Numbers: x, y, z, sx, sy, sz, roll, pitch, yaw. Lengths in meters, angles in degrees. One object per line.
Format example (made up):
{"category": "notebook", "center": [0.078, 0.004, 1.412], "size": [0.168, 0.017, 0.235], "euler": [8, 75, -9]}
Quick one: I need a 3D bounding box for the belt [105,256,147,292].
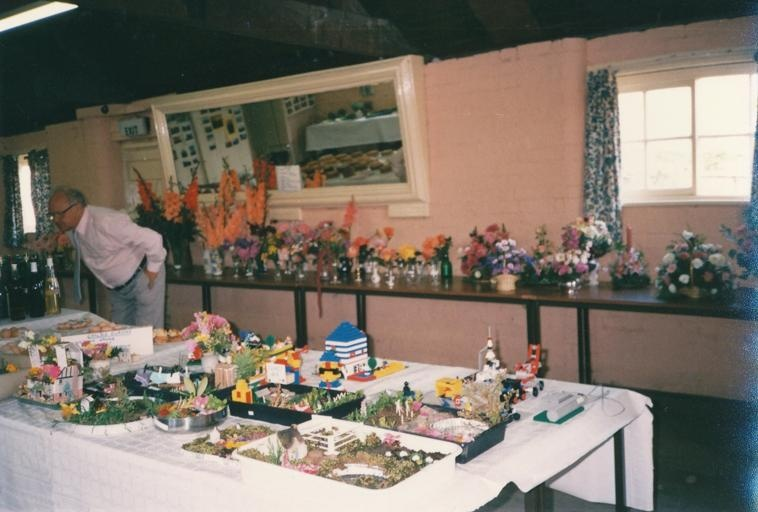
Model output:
{"category": "belt", "center": [-2.176, 0.141, 5.546], "size": [0.275, 0.067, 0.273], "euler": [-25, 27, 44]}

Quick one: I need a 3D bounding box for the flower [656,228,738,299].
{"category": "flower", "center": [2.383, 0.022, 4.804], "size": [0.537, 0.506, 0.541], "euler": [-1, 5, 26]}

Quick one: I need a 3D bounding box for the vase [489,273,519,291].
{"category": "vase", "center": [1.008, 0.213, 5.105], "size": [0.200, 0.085, 0.140], "euler": [1, 1, 16]}

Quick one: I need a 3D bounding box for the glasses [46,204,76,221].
{"category": "glasses", "center": [-2.590, -0.352, 5.172], "size": [0.210, 0.126, 0.124], "euler": [-1, 2, 22]}

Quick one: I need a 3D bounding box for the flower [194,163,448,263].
{"category": "flower", "center": [-0.478, -0.404, 6.180], "size": [2.537, 0.907, 0.550], "euler": [5, 23, 9]}

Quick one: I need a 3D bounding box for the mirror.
{"category": "mirror", "center": [-0.675, -1.055, 6.262], "size": [2.363, 1.431, 0.413], "euler": [-1, 3, 28]}

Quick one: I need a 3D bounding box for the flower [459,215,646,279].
{"category": "flower", "center": [1.374, -0.016, 5.214], "size": [0.985, 0.380, 0.667], "euler": [-5, 4, -22]}
